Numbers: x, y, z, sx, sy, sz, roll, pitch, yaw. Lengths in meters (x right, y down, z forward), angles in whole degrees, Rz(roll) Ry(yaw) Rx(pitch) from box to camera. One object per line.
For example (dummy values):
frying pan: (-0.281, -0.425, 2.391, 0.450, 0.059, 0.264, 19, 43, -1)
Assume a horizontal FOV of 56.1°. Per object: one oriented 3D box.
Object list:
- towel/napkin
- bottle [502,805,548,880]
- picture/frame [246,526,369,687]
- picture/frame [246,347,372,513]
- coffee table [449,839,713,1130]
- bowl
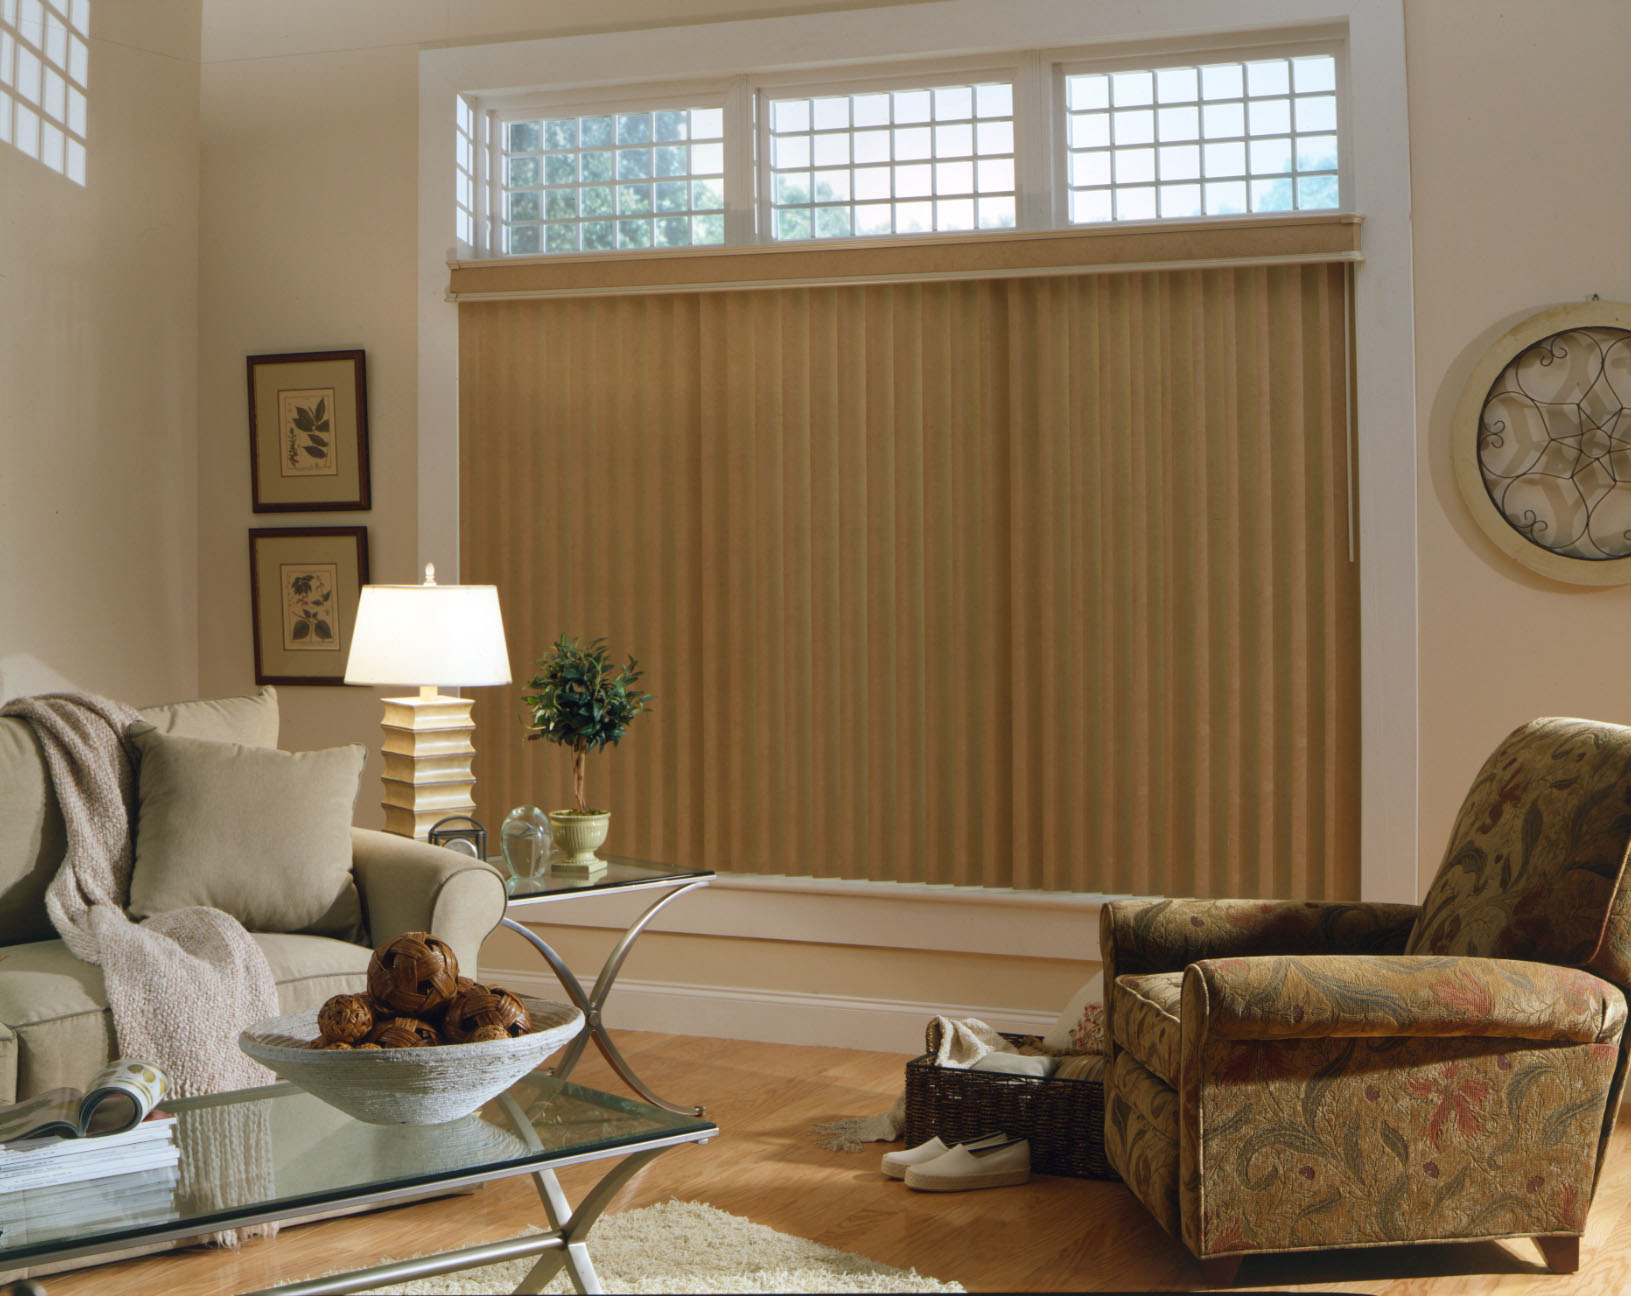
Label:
towel/napkin: (0.396, 1.097, 4.122, 0.395, 0.251, 0.405, -1, -1, 39)
bottle: (-0.789, 0.544, 4.280, 0.163, 0.233, 0.165, 1, -5, 0)
picture/frame: (-1.695, -0.155, 5.181, 0.520, 0.626, 0.046, 1, 3, 14)
picture/frame: (-1.709, -0.760, 5.249, 0.550, 0.661, 0.047, 0, 3, 15)
coffee table: (-0.608, 0.884, 4.445, 0.763, 0.752, 0.777, 0, -3, 3)
bowl: (-0.718, 0.734, 2.711, 0.575, 0.169, 0.579, 0, -3, 0)
